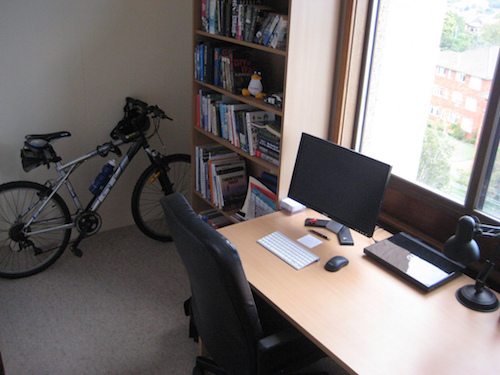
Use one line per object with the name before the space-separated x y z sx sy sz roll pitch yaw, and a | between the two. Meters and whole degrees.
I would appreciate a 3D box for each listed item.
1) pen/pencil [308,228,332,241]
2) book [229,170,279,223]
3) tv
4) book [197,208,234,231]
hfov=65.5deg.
pen/pencil | 0.447 0.301 2.483 0.124 0.019 0.019 28 63 36
book | 0.033 0.075 3.030 0.138 0.317 0.329 -8 26 -27
tv | 0.556 0.034 2.454 0.524 0.533 0.186 36 22 28
book | -0.303 0.277 3.474 0.245 0.059 0.248 -13 30 -36
